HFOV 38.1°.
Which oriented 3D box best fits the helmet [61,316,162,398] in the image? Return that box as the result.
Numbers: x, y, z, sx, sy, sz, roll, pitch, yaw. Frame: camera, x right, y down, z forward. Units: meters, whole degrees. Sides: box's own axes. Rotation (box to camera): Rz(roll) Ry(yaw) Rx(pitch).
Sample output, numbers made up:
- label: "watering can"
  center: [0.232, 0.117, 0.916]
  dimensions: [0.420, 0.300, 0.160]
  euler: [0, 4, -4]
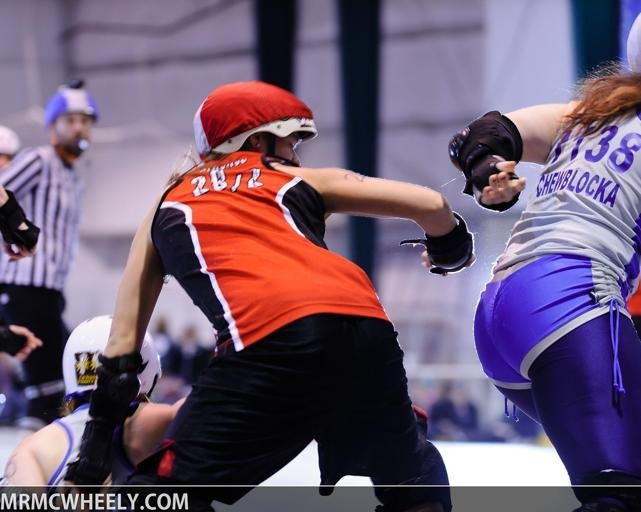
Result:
- label: "helmet"
  center: [-0.928, 0.445, 4.100]
  dimensions: [0.403, 0.364, 0.303]
  euler: [-2, -7, -26]

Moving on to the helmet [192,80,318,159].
- label: "helmet"
  center: [-0.282, -0.549, 3.704]
  dimensions: [0.403, 0.234, 0.295]
  euler: [3, -1, 2]

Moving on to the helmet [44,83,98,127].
- label: "helmet"
  center: [-1.634, -1.016, 6.118]
  dimensions: [0.350, 0.338, 0.345]
  euler: [-3, 2, -40]

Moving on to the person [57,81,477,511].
- label: "person"
  center: [-0.181, 0.140, 3.548]
  dimensions: [1.492, 1.169, 0.544]
  euler: [-3, 1, 7]
